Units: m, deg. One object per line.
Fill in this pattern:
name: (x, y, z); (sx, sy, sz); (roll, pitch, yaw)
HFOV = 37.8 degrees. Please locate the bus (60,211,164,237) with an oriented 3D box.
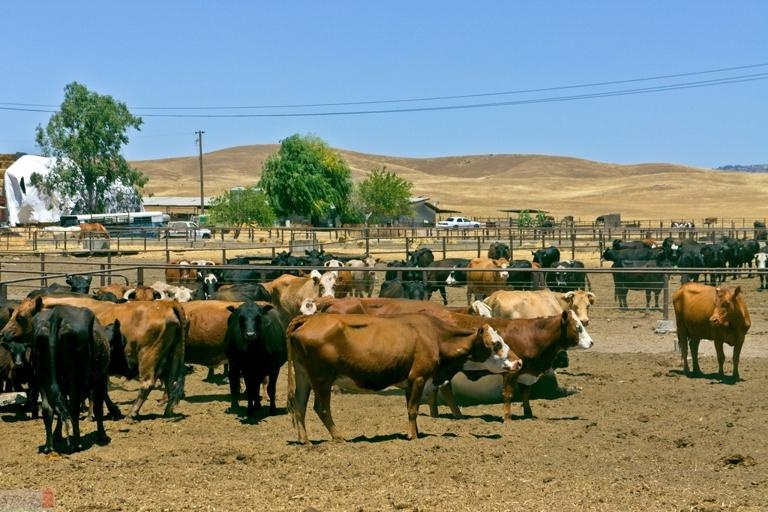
bus: (-16.147, -1.934, 66.932); (6.178, 1.700, 2.110); (-1, 10, -2)

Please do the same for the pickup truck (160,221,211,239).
pickup truck: (-11.665, -1.564, 65.636); (2.828, 1.259, 1.753); (-2, 2, 4)

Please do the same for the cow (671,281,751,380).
cow: (7.006, 1.589, 23.852); (0.934, 2.079, 1.748); (-3, 2, -23)
